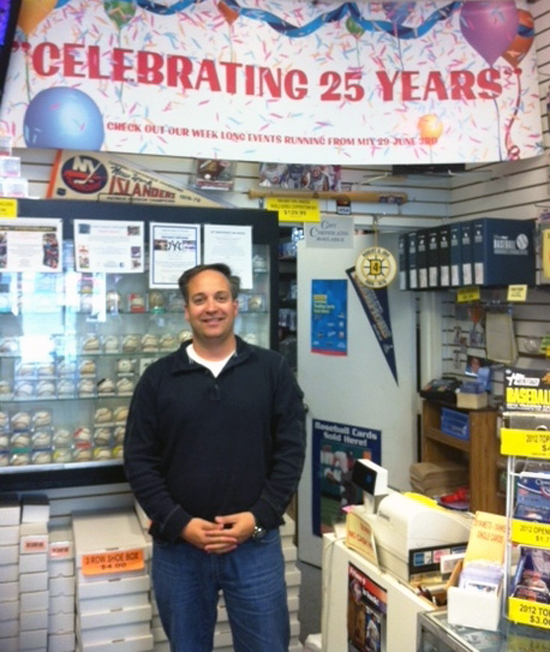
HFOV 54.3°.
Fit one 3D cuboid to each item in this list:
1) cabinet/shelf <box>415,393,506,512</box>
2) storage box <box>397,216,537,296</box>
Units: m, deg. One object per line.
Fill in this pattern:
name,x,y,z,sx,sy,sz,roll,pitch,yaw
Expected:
cabinet/shelf,1.116,0.723,3.317,0.183,0.547,0.557,3,2,-16
storage box,1.075,-0.408,3.170,0.400,0.360,0.757,-1,2,-40
